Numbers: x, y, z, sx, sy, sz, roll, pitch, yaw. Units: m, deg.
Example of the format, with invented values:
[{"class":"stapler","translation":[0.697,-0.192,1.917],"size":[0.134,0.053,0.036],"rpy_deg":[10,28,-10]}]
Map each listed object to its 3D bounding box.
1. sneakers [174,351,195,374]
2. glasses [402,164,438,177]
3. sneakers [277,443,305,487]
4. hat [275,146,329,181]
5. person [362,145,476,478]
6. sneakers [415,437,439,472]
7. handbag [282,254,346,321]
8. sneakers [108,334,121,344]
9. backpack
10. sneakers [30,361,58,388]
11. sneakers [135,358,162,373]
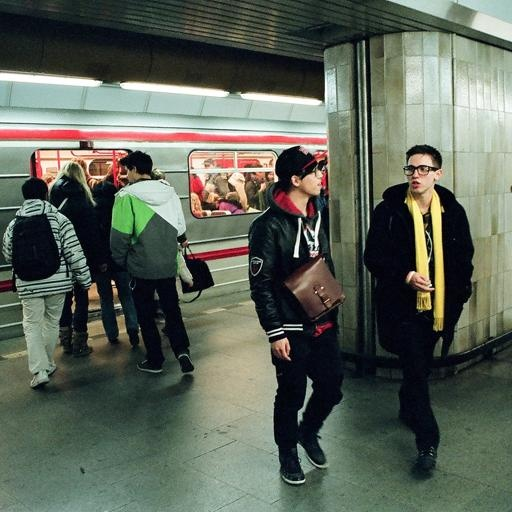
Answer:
[{"class":"sneakers","translation":[-0.709,1.039,4.872],"size":[0.118,0.269,0.120],"rpy_deg":[-9,18,-1]},{"class":"glasses","translation":[1.031,-0.543,3.126],"size":[0.209,0.075,0.133],"rpy_deg":[0,5,28]},{"class":"sneakers","translation":[0.199,1.208,2.889],"size":[0.100,0.107,0.260],"rpy_deg":[1,-5,-7]},{"class":"hat","translation":[0.238,-0.529,2.786],"size":[0.257,0.145,0.185],"rpy_deg":[-33,12,11]},{"class":"person","translation":[1.018,0.263,3.152],"size":[0.608,1.909,0.479],"rpy_deg":[-7,6,-39]},{"class":"sneakers","translation":[1.019,1.194,2.958],"size":[0.080,0.103,0.227],"rpy_deg":[8,40,17]},{"class":"handbag","translation":[0.323,0.169,2.661],"size":[0.332,0.328,0.109],"rpy_deg":[-37,9,-20]},{"class":"sneakers","translation":[-1.775,1.048,6.213],"size":[0.106,0.106,0.117],"rpy_deg":[-2,-4,-2]},{"class":"backpack","translation":[-2.045,-0.087,4.590],"size":[0.402,0.626,0.206],"rpy_deg":[-5,5,-22]},{"class":"sneakers","translation":[-2.057,1.177,4.840],"size":[0.132,0.147,0.370],"rpy_deg":[3,-3,-8]},{"class":"sneakers","translation":[-1.106,1.108,5.079],"size":[0.305,0.113,0.112],"rpy_deg":[6,37,29]}]
